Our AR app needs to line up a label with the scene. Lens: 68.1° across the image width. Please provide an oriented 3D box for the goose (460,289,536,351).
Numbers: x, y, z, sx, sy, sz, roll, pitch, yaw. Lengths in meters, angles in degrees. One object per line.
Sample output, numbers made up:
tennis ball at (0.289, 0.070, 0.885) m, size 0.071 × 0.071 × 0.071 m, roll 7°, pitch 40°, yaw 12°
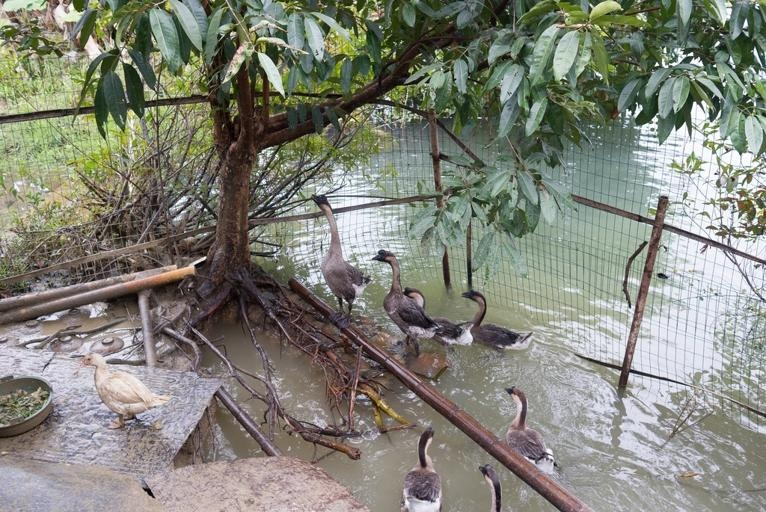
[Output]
goose at (1.765, 1.124, 9.184) m, size 1.305 × 1.032 × 0.524 m, roll 21°, pitch 35°, yaw 28°

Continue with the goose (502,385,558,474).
goose at (1.747, 2.177, 7.353) m, size 0.435 × 0.851 × 1.230 m, roll -1°, pitch 15°, yaw -17°

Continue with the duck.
duck at (-2.923, 1.543, 6.442) m, size 1.030 × 0.742 × 0.350 m, roll 2°, pitch 19°, yaw 0°
